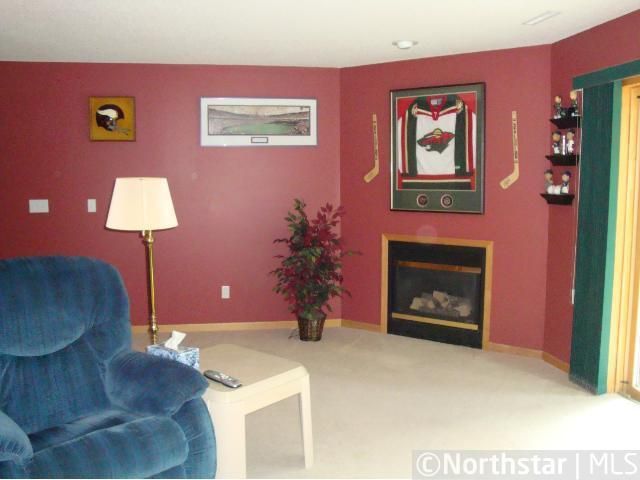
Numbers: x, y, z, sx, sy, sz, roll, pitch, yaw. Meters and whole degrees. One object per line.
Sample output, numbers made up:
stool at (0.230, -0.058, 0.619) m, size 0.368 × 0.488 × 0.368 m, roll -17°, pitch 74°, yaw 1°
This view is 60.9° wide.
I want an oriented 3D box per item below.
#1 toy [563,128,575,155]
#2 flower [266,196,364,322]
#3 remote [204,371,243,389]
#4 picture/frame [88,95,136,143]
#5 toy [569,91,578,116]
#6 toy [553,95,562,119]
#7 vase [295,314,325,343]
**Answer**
toy at (2.033, -0.783, 4.411) m, size 0.070 × 0.187 × 0.080 m, roll 4°, pitch 13°, yaw 20°
flower at (-0.069, 0.214, 5.398) m, size 0.734 × 1.270 × 0.713 m, roll 0°, pitch 13°, yaw 1°
remote at (-0.568, 0.795, 3.145) m, size 0.226 × 0.025 × 0.086 m, roll 17°, pitch 16°, yaw 37°
picture/frame at (-2.064, -1.200, 5.352) m, size 0.442 × 0.461 × 0.045 m, roll -2°, pitch 12°, yaw -9°
toy at (2.068, -1.104, 4.417) m, size 0.078 × 0.202 × 0.276 m, roll 5°, pitch 14°, yaw 24°
toy at (1.992, -1.101, 4.534) m, size 0.078 × 0.193 × 0.261 m, roll 4°, pitch 14°, yaw 22°
vase at (-0.088, 0.843, 5.264) m, size 0.269 × 0.206 × 0.259 m, roll 2°, pitch -4°, yaw 8°
